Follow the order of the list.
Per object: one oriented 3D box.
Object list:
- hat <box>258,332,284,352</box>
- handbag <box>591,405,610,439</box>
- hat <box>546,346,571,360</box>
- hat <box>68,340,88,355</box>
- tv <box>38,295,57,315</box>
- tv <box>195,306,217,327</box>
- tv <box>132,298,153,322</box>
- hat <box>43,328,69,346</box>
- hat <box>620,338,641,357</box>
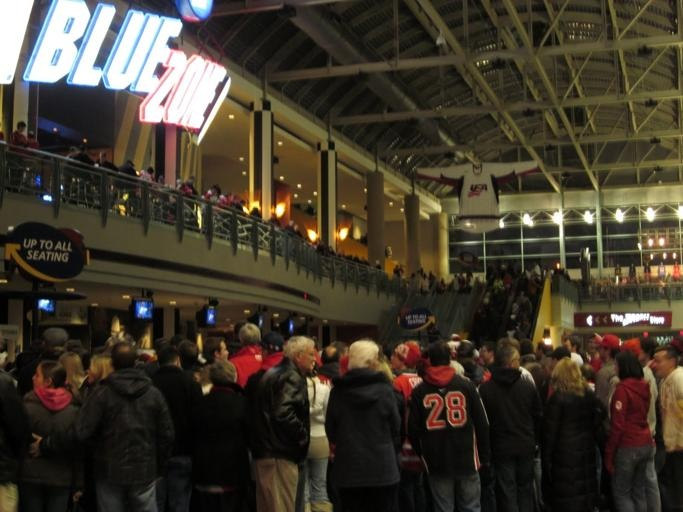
[{"bbox_3d":[-0.755,0.956,8.796,0.241,0.226,0.235,3,-11,-5],"label":"hat"},{"bbox_3d":[2.987,1.912,9.077,0.127,0.447,0.303,-6,7,8],"label":"handbag"},{"bbox_3d":[2.938,1.313,10.594,0.207,0.297,0.269,6,-11,-25],"label":"hat"},{"bbox_3d":[-3.222,1.119,9.643,0.247,0.203,0.505,6,-13,-18],"label":"hat"},{"bbox_3d":[-4.737,0.793,12.685,0.238,0.235,1.218,6,-13,-20],"label":"tv"},{"bbox_3d":[-3.201,1.406,18.416,0.453,0.598,0.380,2,-4,8],"label":"tv"},{"bbox_3d":[-4.065,1.097,16.225,0.137,0.474,0.663,-3,-13,23],"label":"tv"},{"bbox_3d":[-3.282,0.929,9.050,0.255,0.241,0.362,7,-12,-21],"label":"hat"},{"bbox_3d":[3.690,1.143,9.955,0.312,0.213,0.491,-2,-11,15],"label":"hat"}]
